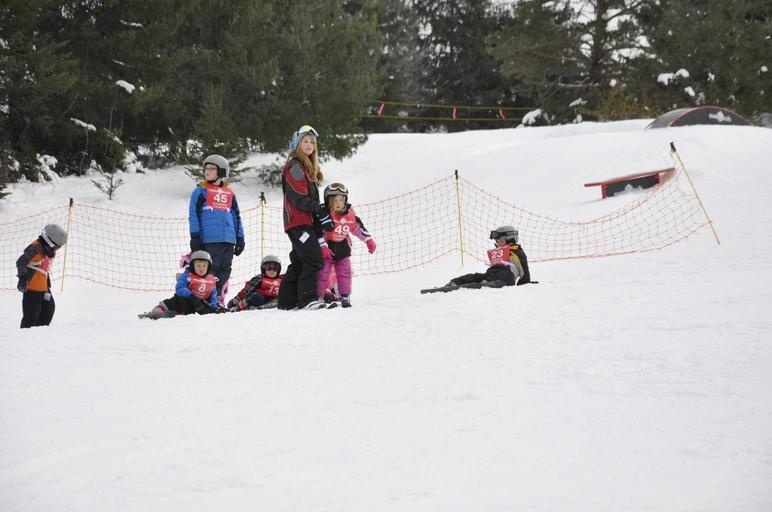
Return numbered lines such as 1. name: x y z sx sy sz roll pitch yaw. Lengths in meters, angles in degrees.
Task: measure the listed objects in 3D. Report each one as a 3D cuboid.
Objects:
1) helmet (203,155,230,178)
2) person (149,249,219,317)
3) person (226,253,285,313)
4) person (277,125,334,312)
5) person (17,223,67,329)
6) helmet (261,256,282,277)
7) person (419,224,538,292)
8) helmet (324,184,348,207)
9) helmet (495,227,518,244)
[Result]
1. helmet: -3.461 -1.877 18.803 0.468 0.476 0.591 5 0 38
2. person: -4.257 0.632 19.375 0.969 1.165 0.600 11 -20 -30
3. person: -2.442 0.602 19.276 1.585 1.348 0.968 4 -8 -5
4. person: -1.595 -0.743 17.575 0.964 3.392 1.127 0 13 21
5. person: -6.927 0.393 18.248 0.592 1.868 1.218 1 13 25
6. helmet: -2.413 0.209 19.294 0.358 0.462 0.465 4 -5 -13
7. person: 2.074 0.010 18.519 1.334 1.139 1.891 -7 -6 44
8. helmet: -0.981 -1.277 18.098 0.363 0.450 0.474 2 -31 -7
9. helmet: 2.501 -0.438 18.924 0.399 0.336 0.309 -9 9 -8
